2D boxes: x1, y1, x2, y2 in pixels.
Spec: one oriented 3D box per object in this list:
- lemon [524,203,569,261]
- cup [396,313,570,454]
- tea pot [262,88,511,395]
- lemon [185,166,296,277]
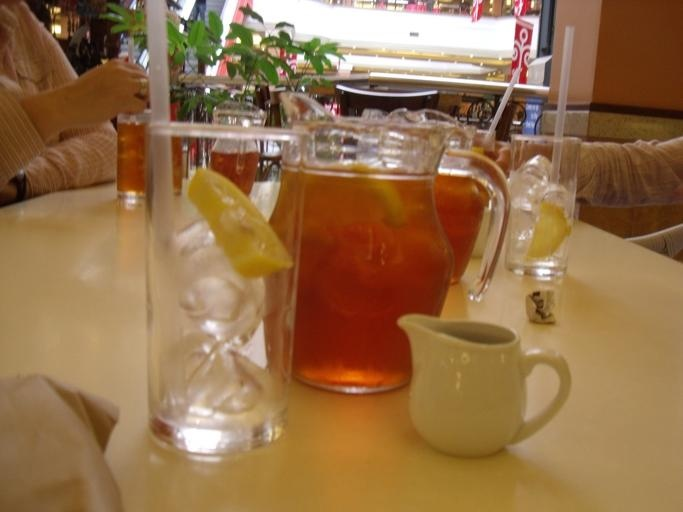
[{"bbox_3d":[0.366,-0.050,0.984,0.059,0.087,0.089,-3,-7,10],"label":"lemon"},{"bbox_3d":[0.140,0.101,0.547,0.147,0.120,0.110,5,9,19],"label":"cup"},{"bbox_3d":[0.000,-0.005,0.639,0.266,0.296,0.203,0,8,-16],"label":"tea pot"},{"bbox_3d":[-0.085,-0.024,0.449,0.058,0.110,0.033,-30,-5,-22],"label":"lemon"}]
